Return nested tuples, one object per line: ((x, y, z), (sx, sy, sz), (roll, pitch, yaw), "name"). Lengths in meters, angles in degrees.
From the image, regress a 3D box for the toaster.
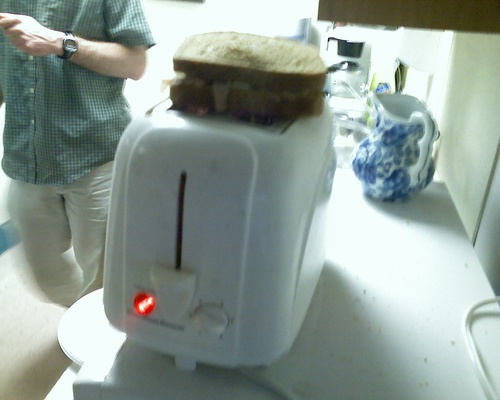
((-0.034, 0.059, 0.639), (0.233, 0.346, 0.325), (11, 32, 12), "toaster")

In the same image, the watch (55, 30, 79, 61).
((-0.415, -0.352, 1.028), (0.035, 0.069, 0.058), (12, 0, -22), "watch")

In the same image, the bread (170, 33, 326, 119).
((0.008, -0.210, 0.566), (0.155, 0.112, 0.176), (8, 41, 7), "bread")
